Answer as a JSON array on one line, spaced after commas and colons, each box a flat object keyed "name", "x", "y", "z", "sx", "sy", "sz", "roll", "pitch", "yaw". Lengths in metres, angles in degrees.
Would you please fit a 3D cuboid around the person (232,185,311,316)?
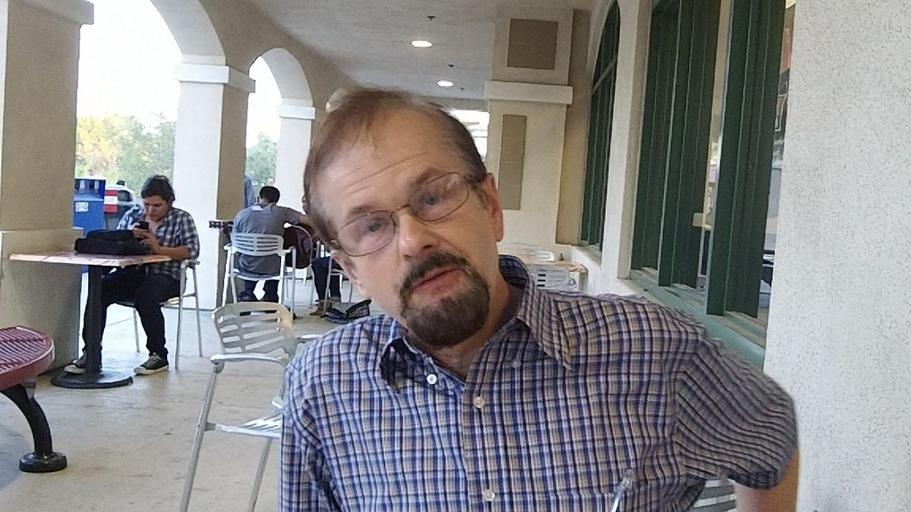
[{"name": "person", "x": -2.299, "y": -0.109, "z": 8.293, "sx": 0.948, "sy": 1.412, "sz": 0.733, "roll": 2, "pitch": 10, "yaw": -14}]

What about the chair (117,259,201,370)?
[{"name": "chair", "x": -2.849, "y": 0.521, "z": 6.381, "sx": 0.524, "sy": 0.620, "sz": 0.466, "roll": -14, "pitch": 5, "yaw": 14}]

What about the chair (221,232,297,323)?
[{"name": "chair", "x": -2.372, "y": 0.181, "z": 8.071, "sx": 0.773, "sy": 0.909, "sz": 0.666, "roll": 4, "pitch": 8, "yaw": -2}]

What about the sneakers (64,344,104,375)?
[{"name": "sneakers", "x": -3.163, "y": 0.898, "z": 5.633, "sx": 0.403, "sy": 0.250, "sz": 0.179, "roll": 0, "pitch": -4, "yaw": -3}]

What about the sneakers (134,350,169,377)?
[{"name": "sneakers", "x": -2.656, "y": 0.961, "z": 5.843, "sx": 0.113, "sy": 0.127, "sz": 0.308, "roll": -2, "pitch": -8, "yaw": 10}]

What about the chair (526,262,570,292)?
[{"name": "chair", "x": 0.871, "y": 0.191, "z": 6.249, "sx": 0.366, "sy": 0.153, "sz": 0.472, "roll": 1, "pitch": 3, "yaw": 4}]

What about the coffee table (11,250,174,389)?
[{"name": "coffee table", "x": -3.066, "y": 0.518, "z": 5.767, "sx": 1.115, "sy": 0.993, "sz": 1.070, "roll": 2, "pitch": 1, "yaw": 2}]
